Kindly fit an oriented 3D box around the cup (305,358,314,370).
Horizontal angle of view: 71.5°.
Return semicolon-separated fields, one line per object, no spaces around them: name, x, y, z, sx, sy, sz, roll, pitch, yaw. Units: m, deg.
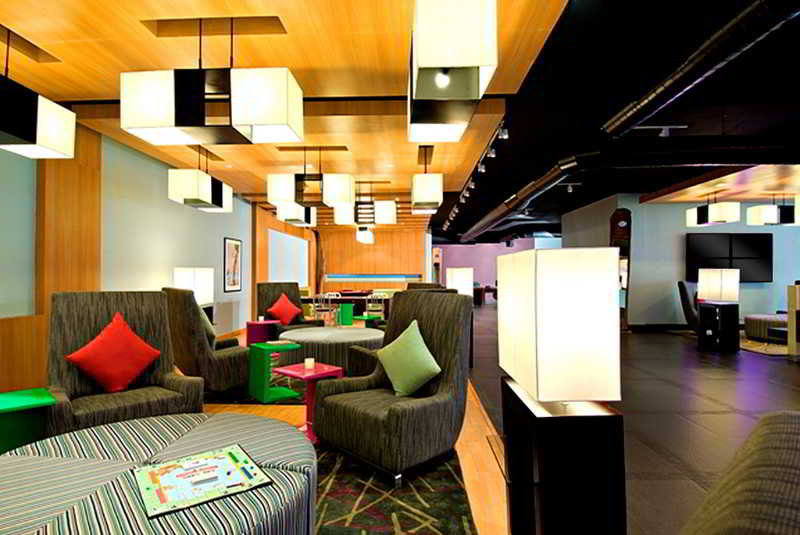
cup;-0.946;1.033;5.889;0.113;0.112;0.107;1;-2;0

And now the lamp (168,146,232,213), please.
lamp;-3.027;-1.359;8.419;0.272;0.590;0.847;-1;-7;6

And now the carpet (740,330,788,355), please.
carpet;6.630;1.463;10.141;0.726;0.240;1.672;5;10;32

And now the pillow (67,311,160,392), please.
pillow;-2.792;0.883;5.507;0.219;0.726;0.677;-9;34;53

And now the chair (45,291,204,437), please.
chair;-2.697;0.905;6.018;1.688;1.762;1.303;2;-12;-34

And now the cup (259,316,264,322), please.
cup;-2.342;0.875;9.456;0.118;0.082;0.116;-1;-9;0

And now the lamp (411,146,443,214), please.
lamp;0.455;-1.393;8.931;0.462;1.071;1.135;0;9;2

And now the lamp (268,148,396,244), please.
lamp;-1.046;-1.400;10.175;1.838;1.364;3.767;0;9;3
